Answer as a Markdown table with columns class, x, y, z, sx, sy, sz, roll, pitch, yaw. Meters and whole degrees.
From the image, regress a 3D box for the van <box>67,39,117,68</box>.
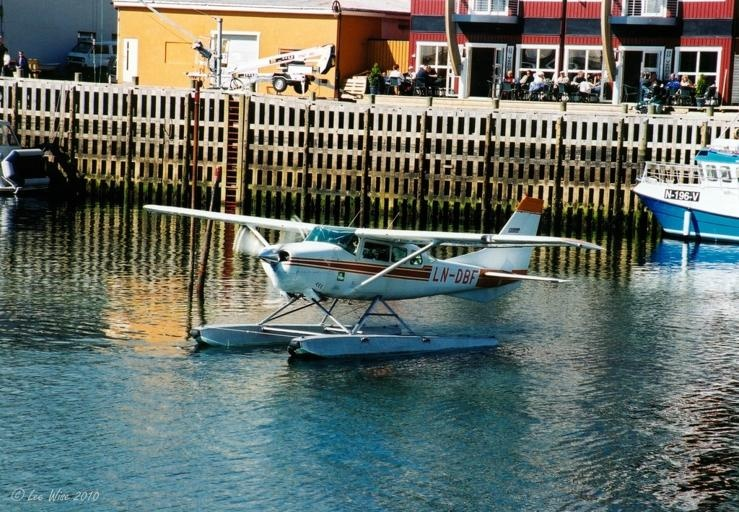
| class | x | y | z | sx | sy | sz | roll | pitch | yaw |
| --- | --- | --- | --- | --- | --- | --- | --- | --- | --- |
| van | -16.555 | -12.067 | 61.972 | 2.594 | 2.276 | 5.957 | 0 | 4 | -13 |

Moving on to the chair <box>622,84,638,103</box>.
| class | x | y | z | sx | sy | sz | roll | pitch | yaw |
| --- | --- | --- | --- | --- | --- | --- | --- | --- | --- |
| chair | 11.959 | -7.557 | 48.153 | 0.733 | 0.893 | 0.425 | 2 | 5 | 11 |
